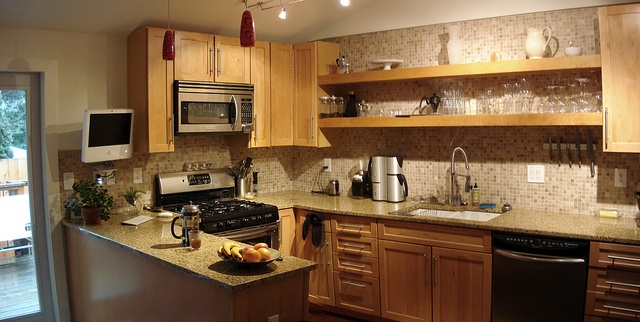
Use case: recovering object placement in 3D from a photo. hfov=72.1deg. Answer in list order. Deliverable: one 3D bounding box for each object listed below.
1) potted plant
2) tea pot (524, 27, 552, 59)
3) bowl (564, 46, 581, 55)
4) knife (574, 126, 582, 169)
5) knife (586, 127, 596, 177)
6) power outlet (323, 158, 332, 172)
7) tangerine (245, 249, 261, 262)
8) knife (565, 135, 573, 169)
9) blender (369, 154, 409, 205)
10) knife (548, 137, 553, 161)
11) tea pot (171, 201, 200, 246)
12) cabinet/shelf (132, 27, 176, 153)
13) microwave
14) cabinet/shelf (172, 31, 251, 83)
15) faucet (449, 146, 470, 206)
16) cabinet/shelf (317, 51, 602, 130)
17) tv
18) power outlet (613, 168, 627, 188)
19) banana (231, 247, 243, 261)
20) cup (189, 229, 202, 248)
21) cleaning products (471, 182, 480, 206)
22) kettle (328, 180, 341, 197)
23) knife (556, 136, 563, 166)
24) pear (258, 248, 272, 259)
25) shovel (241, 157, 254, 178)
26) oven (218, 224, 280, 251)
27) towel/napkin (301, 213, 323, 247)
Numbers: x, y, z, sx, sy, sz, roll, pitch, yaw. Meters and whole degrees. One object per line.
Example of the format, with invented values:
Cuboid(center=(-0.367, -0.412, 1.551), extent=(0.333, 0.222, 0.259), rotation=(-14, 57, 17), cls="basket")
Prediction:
Cuboid(center=(-2.948, 0.476, 5.928), extent=(0.759, 0.647, 0.571), rotation=(3, 4, 23), cls="potted plant")
Cuboid(center=(2.889, -1.553, 5.799), extent=(0.324, 0.366, 0.394), rotation=(-23, 20, -39), cls="tea pot")
Cuboid(center=(3.212, -1.396, 5.583), extent=(0.139, 0.085, 0.137), rotation=(0, 4, 0), cls="bowl")
Cuboid(center=(3.393, -0.154, 5.776), extent=(0.056, 0.473, 0.076), rotation=(-6, 5, -42), cls="knife")
Cuboid(center=(3.526, -0.082, 5.722), extent=(0.112, 0.555, 0.059), rotation=(-3, -1, 17), cls="knife")
Cuboid(center=(0.129, 0.063, 7.119), extent=(0.157, 0.224, 0.018), rotation=(-1, 4, 22), cls="power outlet")
Cuboid(center=(-0.690, 0.981, 4.562), extent=(0.149, 0.068, 0.128), rotation=(3, 8, -6), cls="tangerine")
Cuboid(center=(3.286, -0.101, 5.829), extent=(0.119, 0.399, 0.060), rotation=(-5, -1, 13), cls="knife")
Cuboid(center=(1.011, 0.264, 6.492), extent=(0.523, 0.683, 0.188), rotation=(-3, 4, 1), cls="blender")
Cuboid(center=(3.087, -0.165, 5.887), extent=(0.053, 0.304, 0.028), rotation=(-2, 4, 19), cls="knife")
Cuboid(center=(-1.581, 0.741, 5.101), extent=(0.441, 0.451, 0.226), rotation=(1, 5, 44), cls="tea pot")
Cuboid(center=(-2.354, -0.970, 6.053), extent=(0.685, 1.681, 0.252), rotation=(-2, 4, 17), cls="cabinet/shelf")
Cuboid(center=(-1.747, -0.768, 6.544), extent=(1.393, 0.741, 0.821), rotation=(-6, 8, -42), cls="microwave")
Cuboid(center=(-1.629, -1.481, 6.436), extent=(1.167, 0.624, 0.401), rotation=(-6, 14, -43), cls="cabinet/shelf")
Cuboid(center=(1.990, 0.216, 6.247), extent=(0.295, 0.818, 0.201), rotation=(-2, 4, 16), cls="faucet")
Cuboid(center=(1.827, -0.889, 6.232), extent=(3.826, 0.649, 0.450), rotation=(1, 5, 21), cls="cabinet/shelf")
Cuboid(center=(-2.808, -0.350, 5.793), extent=(0.848, 0.817, 0.152), rotation=(-2, 9, -41), cls="tv")
Cuboid(center=(3.874, 0.216, 5.665), extent=(0.146, 0.251, 0.028), rotation=(-2, 4, 11), cls="power outlet")
Cuboid(center=(-0.855, 0.971, 4.608), extent=(0.110, 0.048, 0.209), rotation=(25, 6, -14), cls="banana")
Cuboid(center=(-1.417, 0.890, 4.972), extent=(0.162, 0.212, 0.114), rotation=(-3, 4, 1), cls="cup")
Cuboid(center=(2.196, 0.471, 6.194), extent=(0.120, 0.316, 0.110), rotation=(-2, 4, 8), cls="cleaning products")
Cuboid(center=(0.230, 0.423, 6.952), extent=(0.165, 0.240, 0.159), rotation=(-3, 4, 1), cls="kettle")
Cuboid(center=(3.194, -0.135, 5.853), extent=(0.056, 0.394, 0.048), rotation=(-1, 4, 24), cls="knife")
Cuboid(center=(-0.563, 0.977, 4.643), extent=(0.124, 0.114, 0.113), rotation=(11, -15, 14), cls="pear")
Cuboid(center=(-1.154, 0.096, 6.937), extent=(0.186, 0.314, 0.246), rotation=(-3, 4, -2), cls="shovel")
Cuboid(center=(-0.900, 1.035, 6.182), extent=(0.642, 0.370, 0.441), rotation=(-3, 1, -45), cls="oven")
Cuboid(center=(-0.092, 1.002, 6.310), extent=(0.297, 0.499, 0.118), rotation=(-1, 4, 28), cls="towel/napkin")
